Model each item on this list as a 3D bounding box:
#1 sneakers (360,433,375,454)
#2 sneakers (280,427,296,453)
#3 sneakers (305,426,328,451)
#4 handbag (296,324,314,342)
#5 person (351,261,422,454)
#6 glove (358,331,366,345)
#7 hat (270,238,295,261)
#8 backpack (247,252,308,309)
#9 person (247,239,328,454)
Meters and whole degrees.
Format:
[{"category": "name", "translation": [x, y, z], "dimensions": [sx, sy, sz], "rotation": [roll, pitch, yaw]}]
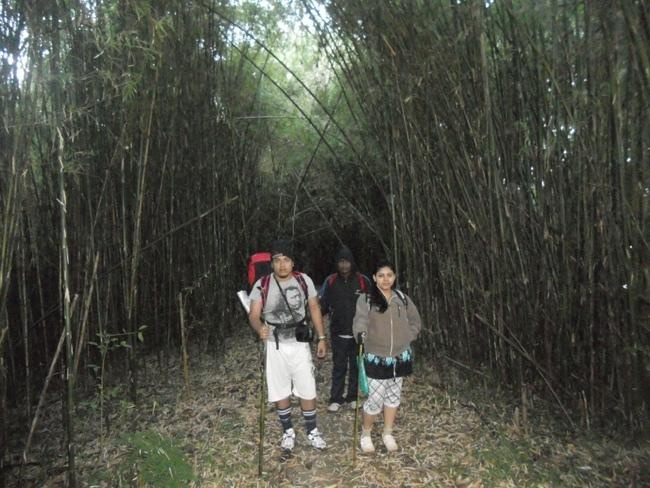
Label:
[{"category": "sneakers", "translation": [0.331, 1.561, 4.885], "dimensions": [0.102, 0.093, 0.208], "rotation": [-1, -7, 1]}, {"category": "sneakers", "translation": [-0.292, 1.541, 4.909], "dimensions": [0.105, 0.144, 0.282], "rotation": [1, -15, -2]}, {"category": "sneakers", "translation": [-0.073, 1.538, 4.945], "dimensions": [0.098, 0.145, 0.194], "rotation": [1, -1, -36]}, {"category": "handbag", "translation": [-0.159, 0.681, 4.803], "dimensions": [0.123, 0.159, 0.105], "rotation": [1, -3, -21]}, {"category": "person", "translation": [0.489, 0.881, 4.801], "dimensions": [0.523, 1.387, 0.243], "rotation": [-3, 0, -3]}, {"category": "glove", "translation": [0.282, 0.703, 4.704], "dimensions": [0.056, 0.128, 0.081], "rotation": [1, 2, 19]}, {"category": "hat", "translation": [-0.332, 0.037, 4.828], "dimensions": [0.123, 0.182, 0.185], "rotation": [2, 7, 20]}, {"category": "backpack", "translation": [-0.424, 0.261, 5.489], "dimensions": [0.320, 0.611, 0.528], "rotation": [1, -13, -14]}, {"category": "person", "translation": [-0.291, 0.795, 4.819], "dimensions": [0.577, 1.614, 0.292], "rotation": [-3, 0, -10]}]
